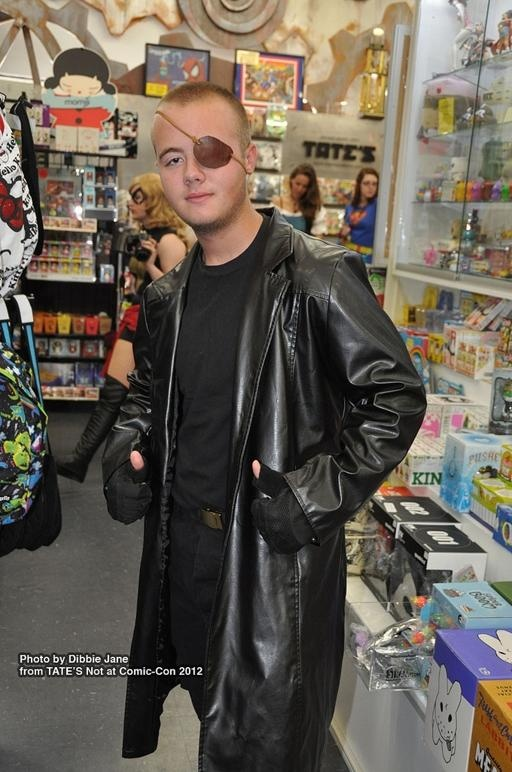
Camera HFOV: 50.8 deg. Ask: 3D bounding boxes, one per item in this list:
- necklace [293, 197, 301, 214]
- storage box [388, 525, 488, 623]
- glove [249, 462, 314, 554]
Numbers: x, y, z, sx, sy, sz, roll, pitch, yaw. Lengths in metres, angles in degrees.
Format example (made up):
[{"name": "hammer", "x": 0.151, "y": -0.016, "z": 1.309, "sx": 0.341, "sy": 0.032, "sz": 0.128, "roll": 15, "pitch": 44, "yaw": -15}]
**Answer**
[{"name": "necklace", "x": 0.429, "y": -1.925, "z": 5.733, "sx": 0.091, "sy": 0.130, "sz": 0.040, "roll": -2, "pitch": 0, "yaw": 15}, {"name": "storage box", "x": 0.497, "y": 0.497, "z": 1.445, "sx": 0.143, "sy": 0.257, "sz": 0.266, "roll": 3, "pitch": 17, "yaw": -13}, {"name": "glove", "x": 0.033, "y": 0.154, "z": 0.731, "sx": 0.030, "sy": 0.128, "sz": 0.070, "roll": 7, "pitch": -31, "yaw": -45}]
